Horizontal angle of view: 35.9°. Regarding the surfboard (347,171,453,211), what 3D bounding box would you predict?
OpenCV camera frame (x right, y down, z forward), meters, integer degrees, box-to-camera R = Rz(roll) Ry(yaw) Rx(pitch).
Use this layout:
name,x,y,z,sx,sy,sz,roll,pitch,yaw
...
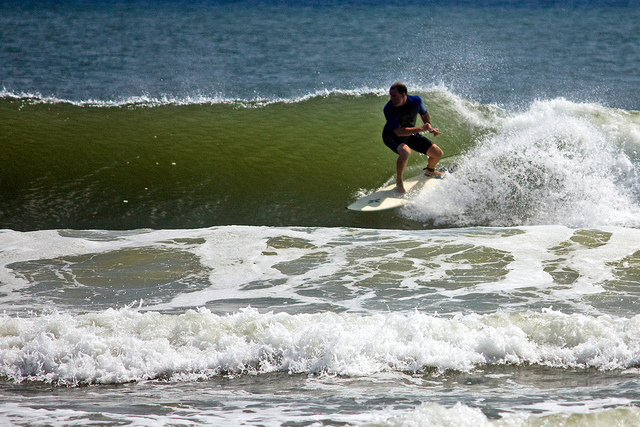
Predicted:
name,x,y,z,sx,sy,sz,roll,pitch,yaw
surfboard,1.972,-0.442,24.829,3.151,0.265,0.724,-19,45,-10
